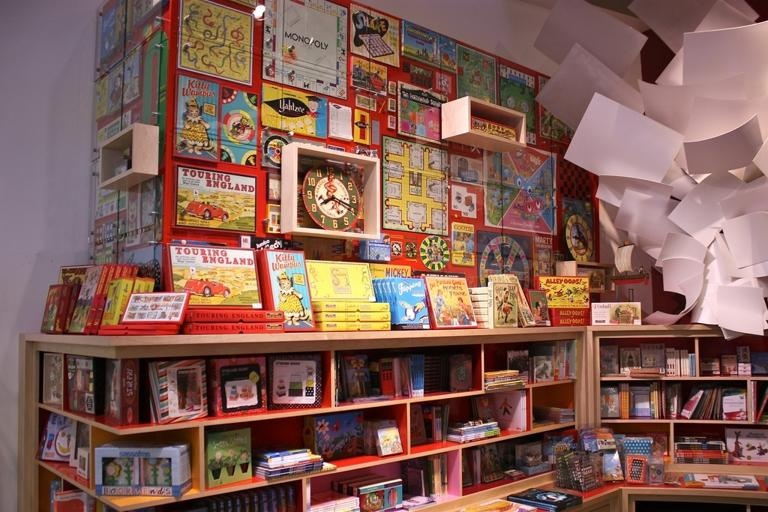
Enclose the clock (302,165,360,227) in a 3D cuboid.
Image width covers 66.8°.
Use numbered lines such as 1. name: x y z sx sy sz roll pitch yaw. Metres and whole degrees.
1. clock: -0.381 -0.424 4.280 0.509 0.536 0.029 5 -16 -38
